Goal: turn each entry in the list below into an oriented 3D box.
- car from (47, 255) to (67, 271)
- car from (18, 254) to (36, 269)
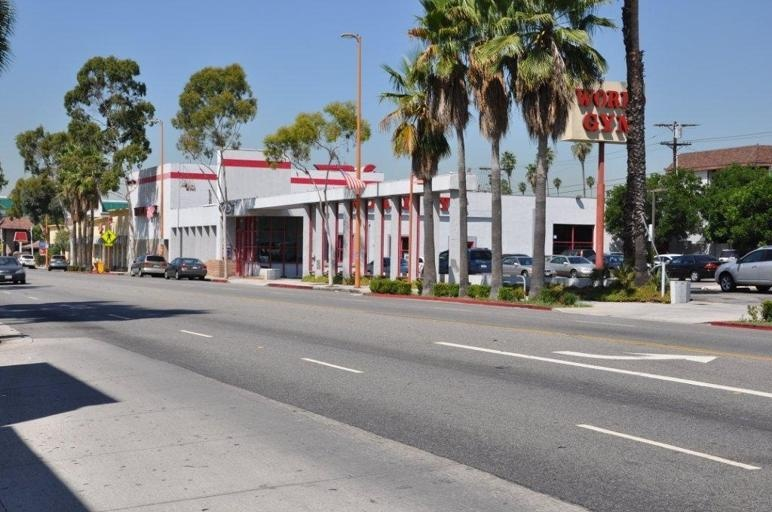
[{"bbox_3d":[-37.949,0.800,88.375,1.254,1.210,3.171,-1,5,-21],"label":"car"},{"bbox_3d":[-45.289,0.731,96.437,1.558,1.364,3.505,0,5,-30],"label":"car"}]
